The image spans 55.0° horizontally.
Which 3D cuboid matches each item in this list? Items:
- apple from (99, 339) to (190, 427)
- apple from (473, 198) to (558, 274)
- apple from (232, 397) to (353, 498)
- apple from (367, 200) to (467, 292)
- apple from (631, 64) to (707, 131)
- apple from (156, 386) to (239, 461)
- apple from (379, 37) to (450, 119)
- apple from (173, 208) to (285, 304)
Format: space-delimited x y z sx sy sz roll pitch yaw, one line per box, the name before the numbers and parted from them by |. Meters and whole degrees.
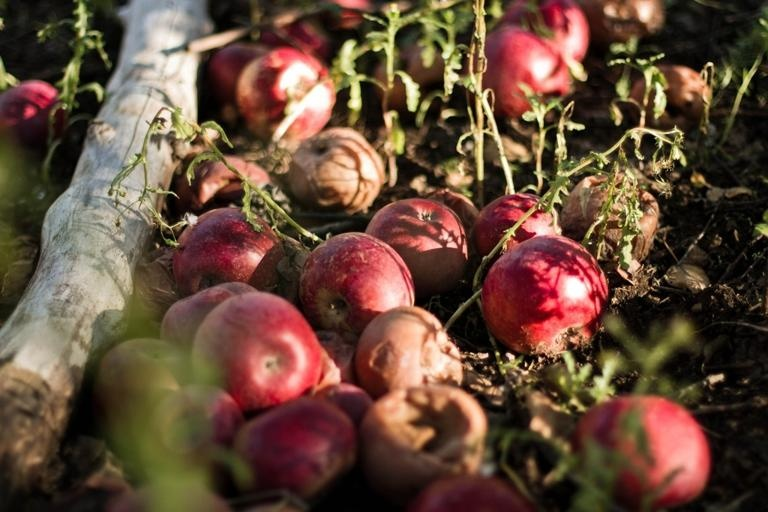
apple | -0.896 0.435 2.730 0.292 0.370 0.308 12 -12 3
apple | 0.535 -0.144 3.164 0.309 0.272 0.265 -23 10 -7
apple | -0.289 0.633 2.431 0.395 0.277 0.162 6 16 -11
apple | 0.156 -0.089 3.129 0.366 0.297 0.392 20 25 24
apple | 1.418 -0.806 3.676 0.360 0.289 0.251 14 17 15
apple | -0.636 0.570 2.542 0.293 0.191 0.170 6 17 -11
apple | 0.130 -0.962 3.976 0.397 0.363 0.414 1 18 -25
apple | -0.711 0.039 3.189 0.373 0.402 0.403 -2 -5 -42
